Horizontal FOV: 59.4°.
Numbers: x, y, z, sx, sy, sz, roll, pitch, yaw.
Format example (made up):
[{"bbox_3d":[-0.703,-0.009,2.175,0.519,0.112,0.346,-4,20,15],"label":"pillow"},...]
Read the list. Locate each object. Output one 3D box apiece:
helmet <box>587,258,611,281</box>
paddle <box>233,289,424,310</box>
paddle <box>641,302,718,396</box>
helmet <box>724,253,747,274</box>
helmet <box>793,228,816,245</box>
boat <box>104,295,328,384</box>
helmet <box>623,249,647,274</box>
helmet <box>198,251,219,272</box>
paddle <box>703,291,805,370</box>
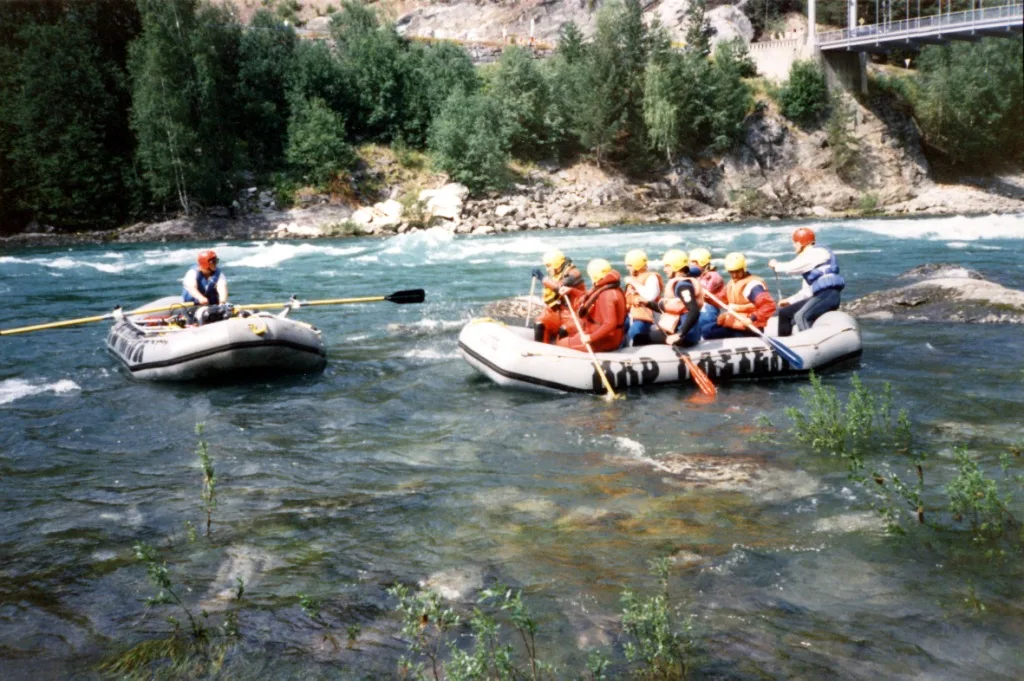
[{"bbox_3d":[1.595,-1.294,16.390,0.389,0.376,0.554,-4,10,9],"label":"helmet"},{"bbox_3d":[-4.550,-1.021,22.246,3.853,0.405,0.579,-5,10,-6],"label":"paddle"},{"bbox_3d":[3.004,0.187,16.524,0.304,0.159,2.246,-32,60,-14],"label":"paddle"},{"bbox_3d":[4.304,-1.520,17.505,0.394,0.422,0.482,-15,-17,27],"label":"helmet"},{"bbox_3d":[5.760,-2.063,17.897,0.376,0.375,0.459,1,20,-14],"label":"helmet"},{"bbox_3d":[-5.915,0.134,17.453,3.962,1.258,1.694,-1,11,22],"label":"boat"},{"bbox_3d":[2.316,-1.575,17.228,0.512,0.494,0.414,10,36,20],"label":"helmet"},{"bbox_3d":[-6.259,-1.647,18.442,0.354,0.450,0.503,-9,11,-21],"label":"helmet"},{"bbox_3d":[4.494,-0.171,17.027,2.472,0.284,0.203,40,2,37],"label":"paddle"}]
